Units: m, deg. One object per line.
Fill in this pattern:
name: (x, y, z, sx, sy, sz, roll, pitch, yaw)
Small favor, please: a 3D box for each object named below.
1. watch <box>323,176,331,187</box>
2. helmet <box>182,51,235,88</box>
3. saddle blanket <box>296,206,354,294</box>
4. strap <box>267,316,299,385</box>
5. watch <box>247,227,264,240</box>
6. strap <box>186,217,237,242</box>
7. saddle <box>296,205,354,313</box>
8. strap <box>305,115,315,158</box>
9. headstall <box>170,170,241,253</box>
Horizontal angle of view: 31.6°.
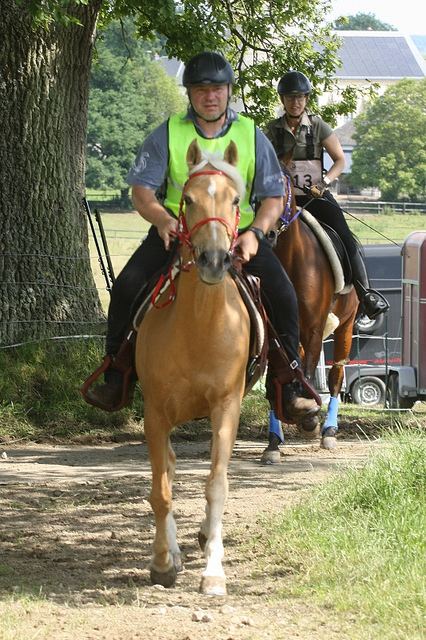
watch: (1.141, -1.372, 7.514, 0.082, 0.060, 0.082, 49, -2, 33)
helmet: (-0.035, -1.432, 4.296, 0.286, 0.211, 0.190, -4, 0, 2)
saddle blanket: (1.231, -0.705, 7.748, 0.585, 0.842, 0.580, -5, 12, 5)
strap: (0.523, 0.229, 5.417, 0.128, 0.425, 0.280, -34, 18, -23)
watch: (0.242, -0.467, 4.092, 0.075, 0.029, 0.074, 41, -6, 25)
strap: (-0.005, -0.394, 3.296, 0.140, 0.106, 0.030, -6, 19, 5)
saddle: (1.323, -0.655, 7.817, 0.694, 1.116, 0.686, -4, 12, -1)
strap: (0.969, -1.775, 7.517, 0.081, 0.369, 0.179, -5, 0, 8)
headstall: (-0.026, -0.485, 3.466, 0.367, 0.368, 0.203, 3, 10, 1)
